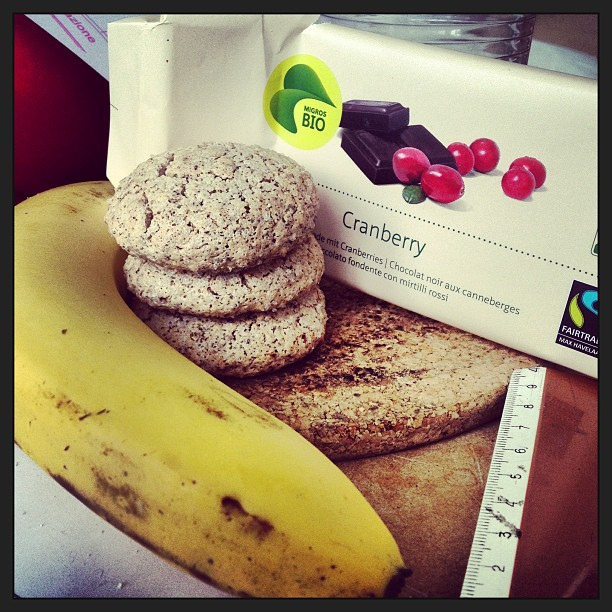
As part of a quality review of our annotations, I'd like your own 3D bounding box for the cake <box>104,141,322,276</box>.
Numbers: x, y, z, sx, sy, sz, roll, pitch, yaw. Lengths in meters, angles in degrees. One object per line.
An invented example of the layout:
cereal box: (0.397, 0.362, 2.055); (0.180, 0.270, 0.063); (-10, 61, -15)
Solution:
cake: (-0.151, -0.174, 0.830); (0.215, 0.066, 0.206); (28, 44, 36)
